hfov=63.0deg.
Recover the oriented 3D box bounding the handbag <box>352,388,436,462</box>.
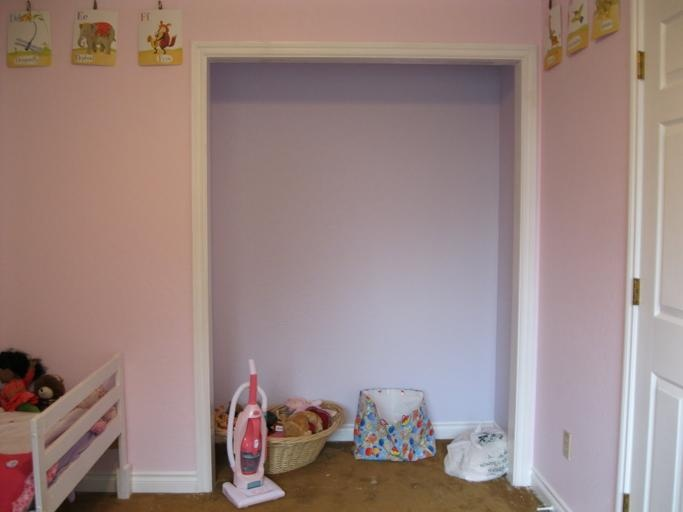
[{"bbox_3d":[0.339,1.081,3.645,0.524,0.399,0.342,-1,0,8],"label":"handbag"}]
